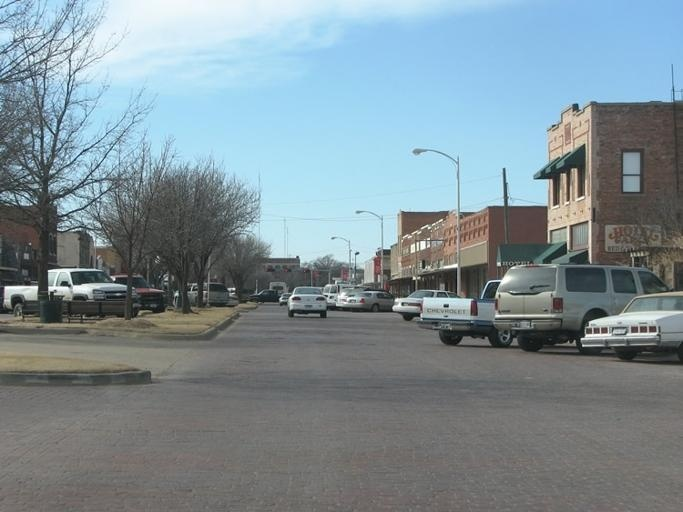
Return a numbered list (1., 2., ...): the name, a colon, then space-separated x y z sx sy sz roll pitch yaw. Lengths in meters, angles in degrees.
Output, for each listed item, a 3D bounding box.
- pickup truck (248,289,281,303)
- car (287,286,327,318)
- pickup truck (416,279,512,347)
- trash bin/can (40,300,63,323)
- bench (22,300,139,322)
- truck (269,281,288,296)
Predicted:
1. pickup truck: -8.483 4.647 93.868 2.862 1.267 1.595 2 -3 -2
2. car: -1.861 2.533 45.340 1.927 1.771 3.809 -1 -5 -4
3. pickup truck: 4.196 1.747 24.972 2.965 1.350 1.546 -1 1 -43
4. trash bin/can: -9.355 1.809 26.819 0.645 0.772 0.675 0 -3 -10
5. bench: -8.738 1.841 28.672 3.679 0.750 0.816 -1 -7 -5
6. truck: -7.554 4.210 98.773 1.844 2.306 3.602 0 1 -2
